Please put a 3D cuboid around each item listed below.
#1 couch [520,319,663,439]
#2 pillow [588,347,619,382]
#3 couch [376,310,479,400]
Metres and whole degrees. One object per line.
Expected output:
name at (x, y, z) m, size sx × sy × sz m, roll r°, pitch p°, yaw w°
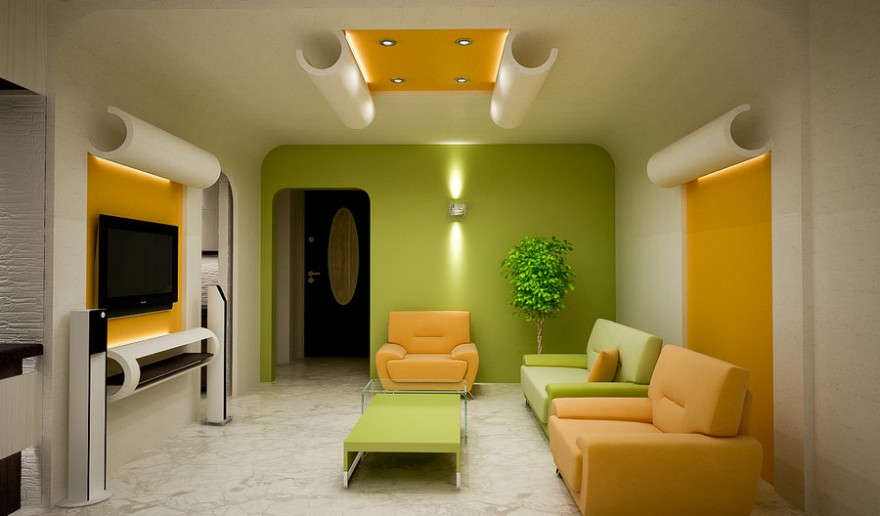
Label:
couch at (1.737, 1.462, 6.688) m, size 1.254 × 1.163 × 2.109 m, roll -3°, pitch 0°, yaw -1°
pillow at (1.924, 1.236, 6.364) m, size 0.259 × 0.372 × 0.460 m, roll -4°, pitch -6°, yaw 34°
couch at (-0.165, 1.317, 7.885) m, size 1.461 × 0.952 × 0.768 m, roll 0°, pitch 6°, yaw 1°
